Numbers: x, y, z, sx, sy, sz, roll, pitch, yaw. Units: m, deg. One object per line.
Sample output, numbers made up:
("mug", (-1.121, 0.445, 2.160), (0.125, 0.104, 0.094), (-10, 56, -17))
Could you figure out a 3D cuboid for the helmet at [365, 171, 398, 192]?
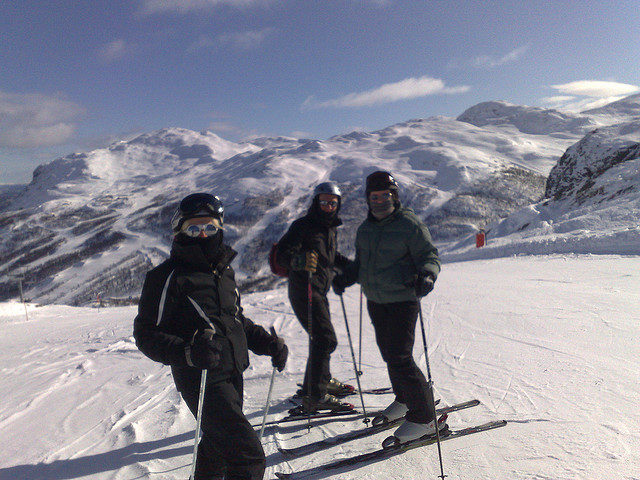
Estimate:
("helmet", (0.942, -0.893, 7.368), (0.333, 0.321, 0.406), (8, 15, 15))
